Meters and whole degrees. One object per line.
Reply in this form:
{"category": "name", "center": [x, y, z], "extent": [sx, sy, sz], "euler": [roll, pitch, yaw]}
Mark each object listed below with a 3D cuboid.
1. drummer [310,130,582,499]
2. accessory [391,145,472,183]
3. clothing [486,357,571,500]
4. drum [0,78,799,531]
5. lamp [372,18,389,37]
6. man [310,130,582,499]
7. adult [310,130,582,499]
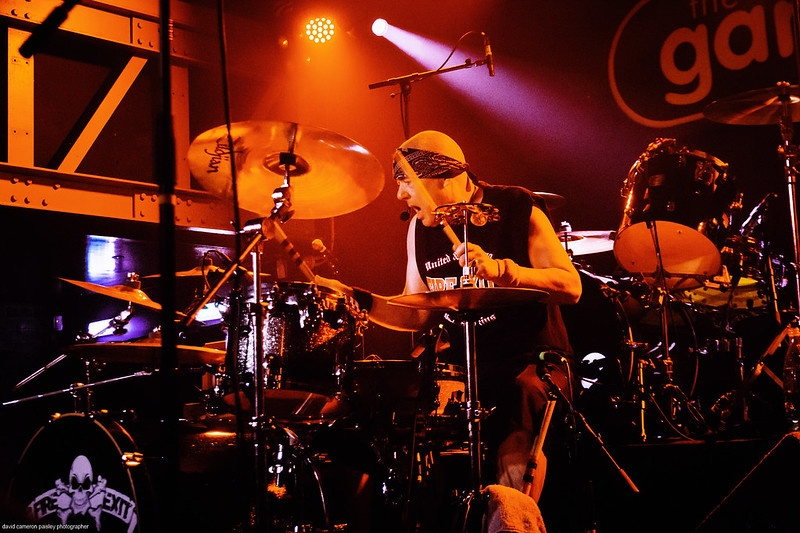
{"category": "drummer", "center": [0.253, 0.358, 5.108], "extent": [1.538, 2.403, 1.301], "euler": [14, -33, -24]}
{"category": "accessory", "center": [0.182, -0.604, 4.983], "extent": [0.297, 0.150, 0.228], "euler": [3, 3, -4]}
{"category": "clothing", "center": [0.739, 0.883, 4.585], "extent": [0.451, 0.783, 0.279], "euler": [-1, -29, 4]}
{"category": "drum", "center": [-0.005, 0.298, 5.270], "extent": [1.935, 2.757, 1.524], "euler": [18, -40, -26]}
{"category": "lamp", "center": [-0.163, -2.001, 7.088], "extent": [0.169, 0.114, 0.165], "euler": [0, 5, -1]}
{"category": "man", "center": [0.253, 0.358, 5.108], "extent": [1.538, 2.403, 1.301], "euler": [14, -33, -24]}
{"category": "adult", "center": [0.253, 0.358, 5.108], "extent": [1.538, 2.403, 1.301], "euler": [14, -33, -24]}
